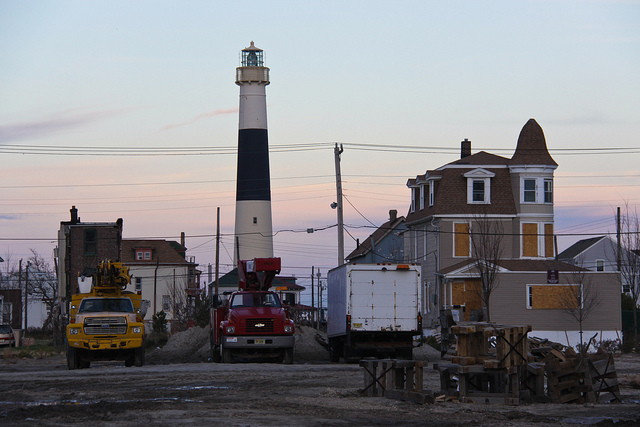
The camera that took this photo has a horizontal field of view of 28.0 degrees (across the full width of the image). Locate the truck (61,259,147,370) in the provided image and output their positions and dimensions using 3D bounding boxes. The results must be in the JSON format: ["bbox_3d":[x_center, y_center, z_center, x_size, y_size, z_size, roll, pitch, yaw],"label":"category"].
[{"bbox_3d":[-10.624,4.894,62.450,3.628,5.201,4.337,0,-8,-10],"label":"truck"}]

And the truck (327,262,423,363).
[{"bbox_3d":[2.890,4.654,64.910,4.101,4.212,7.623,1,-2,-6],"label":"truck"}]

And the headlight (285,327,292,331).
[{"bbox_3d":[-1.635,5.538,61.989,0.312,0.181,0.048,2,-9,-22],"label":"headlight"}]

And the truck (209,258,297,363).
[{"bbox_3d":[-3.646,4.752,66.384,4.657,5.122,9.996,2,-3,-6],"label":"truck"}]

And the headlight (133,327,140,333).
[{"bbox_3d":[-8.860,5.452,60.682,0.294,0.240,0.067,-1,-3,-5],"label":"headlight"}]
